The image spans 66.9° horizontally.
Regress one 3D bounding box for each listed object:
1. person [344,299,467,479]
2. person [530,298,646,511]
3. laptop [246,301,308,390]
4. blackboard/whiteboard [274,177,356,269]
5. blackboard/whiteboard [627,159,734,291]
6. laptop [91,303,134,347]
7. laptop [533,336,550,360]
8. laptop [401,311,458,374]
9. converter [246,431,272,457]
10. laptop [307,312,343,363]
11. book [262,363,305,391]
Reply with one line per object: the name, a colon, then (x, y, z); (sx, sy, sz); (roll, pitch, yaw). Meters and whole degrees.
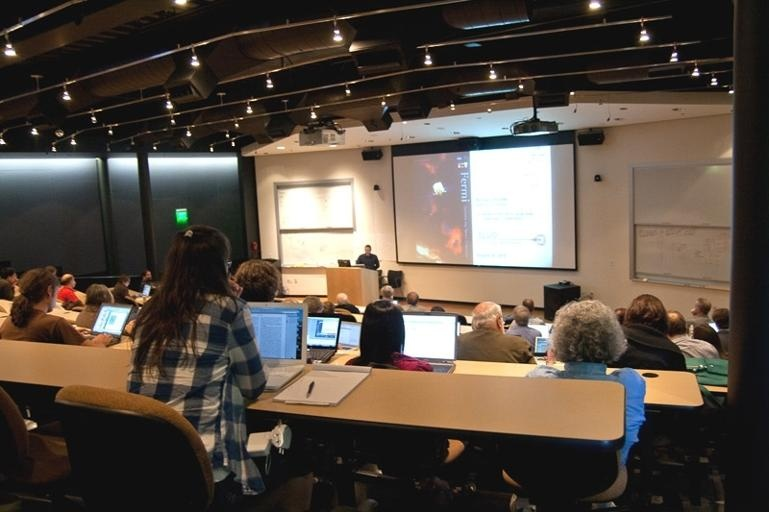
person: (0.043, 0.809, 3.888); (1.033, 1.164, 0.800); (1, 1, 20)
person: (1.189, 0.907, 3.691); (0.872, 1.258, 0.630); (-6, -4, 30)
laptop: (-0.627, 0.529, 3.696); (0.541, 0.383, 0.443); (2, 1, 7)
blackboard/whiteboard: (-1.426, -0.760, 12.528); (2.091, 1.936, 0.289); (0, 4, 15)
blackboard/whiteboard: (4.466, -0.496, 8.670); (0.303, 1.928, 2.100); (-1, 3, -42)
laptop: (-2.872, 0.722, 6.210); (0.555, 0.378, 0.336); (10, 3, 18)
laptop: (1.404, 0.816, 5.129); (0.183, 0.168, 0.142); (0, -5, 17)
laptop: (0.371, 0.668, 4.674); (0.534, 0.410, 0.403); (3, 5, 7)
converter: (-0.655, 1.000, 3.150); (0.144, 0.116, 0.139); (-3, 27, 2)
laptop: (-0.488, 0.615, 4.550); (0.415, 0.341, 0.327); (3, 0, 10)
book: (-0.622, 0.719, 3.454); (0.181, 0.020, 0.187); (1, 12, 13)
